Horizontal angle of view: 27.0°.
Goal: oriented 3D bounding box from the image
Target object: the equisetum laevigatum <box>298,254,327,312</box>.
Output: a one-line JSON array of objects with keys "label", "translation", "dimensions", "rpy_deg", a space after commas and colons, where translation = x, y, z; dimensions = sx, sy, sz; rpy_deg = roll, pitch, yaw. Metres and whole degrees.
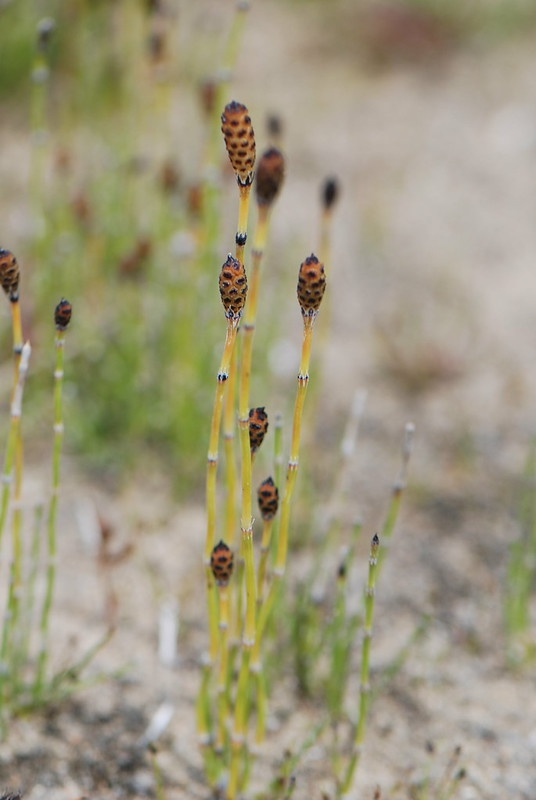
[{"label": "equisetum laevigatum", "translation": [0.069, -0.177, 1.725], "dimensions": [0.034, 0.114, 0.038], "rpy_deg": [12, 50, 11]}]

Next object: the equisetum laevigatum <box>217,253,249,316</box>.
[{"label": "equisetum laevigatum", "translation": [-0.053, -0.169, 1.698], "dimensions": [0.037, 0.115, 0.032], "rpy_deg": [-20, 34, -31]}]

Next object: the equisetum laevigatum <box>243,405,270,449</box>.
[{"label": "equisetum laevigatum", "translation": [-0.017, 0.044, 1.857], "dimensions": [0.021, 0.070, 0.032], "rpy_deg": [1, 16, 15]}]
